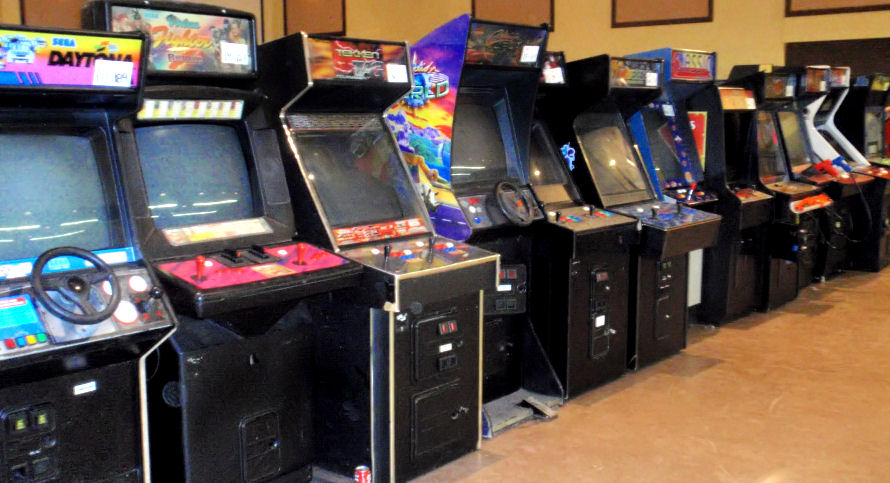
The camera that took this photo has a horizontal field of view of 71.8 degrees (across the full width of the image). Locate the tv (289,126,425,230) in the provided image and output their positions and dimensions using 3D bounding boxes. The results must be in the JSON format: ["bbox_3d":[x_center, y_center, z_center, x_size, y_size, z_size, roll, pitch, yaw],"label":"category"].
[{"bbox_3d":[-0.608,-0.443,4.131,0.886,0.668,0.190,-11,-22,-35],"label":"tv"}]

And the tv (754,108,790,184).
[{"bbox_3d":[3.582,-1.044,6.731,0.289,0.784,0.696,5,17,37],"label":"tv"}]

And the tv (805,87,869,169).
[{"bbox_3d":[4.897,-1.395,7.661,0.702,0.970,1.265,4,16,33],"label":"tv"}]

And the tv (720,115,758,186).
[{"bbox_3d":[3.032,-0.960,6.377,0.386,0.757,0.277,-17,19,-37],"label":"tv"}]

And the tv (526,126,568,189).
[{"bbox_3d":[0.792,-0.723,5.131,0.284,0.516,0.405,9,20,44],"label":"tv"}]
